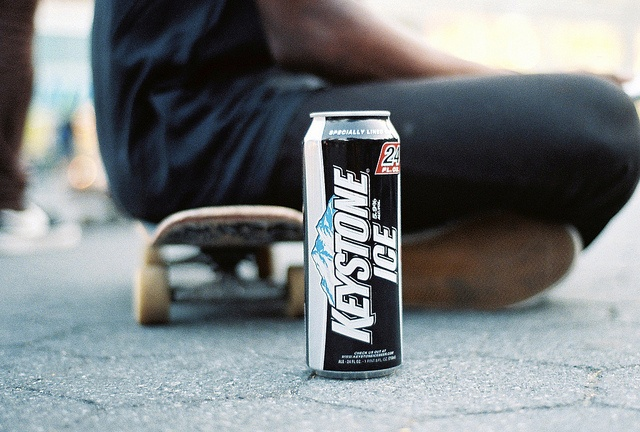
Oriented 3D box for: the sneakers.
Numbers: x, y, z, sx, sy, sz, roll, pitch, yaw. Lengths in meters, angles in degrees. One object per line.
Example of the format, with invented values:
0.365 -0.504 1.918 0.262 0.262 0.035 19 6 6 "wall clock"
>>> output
0.492 0.174 2.449 0.246 0.702 0.256 6 77 -43 "sneakers"
